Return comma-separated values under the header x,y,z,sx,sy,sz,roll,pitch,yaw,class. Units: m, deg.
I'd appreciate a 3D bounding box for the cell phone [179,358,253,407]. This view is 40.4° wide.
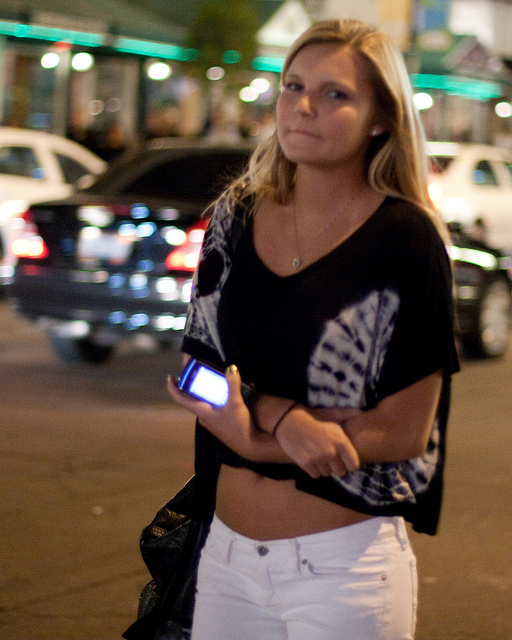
x,y,z,sx,sy,sz,roll,pitch,yaw,class
-0.066,0.106,1.161,0.083,0.040,0.046,20,-6,39,cell phone

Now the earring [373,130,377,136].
x,y,z,sx,sy,sz,roll,pitch,yaw,class
0.199,-0.314,1.164,0.006,0.008,0.008,7,12,11,earring
